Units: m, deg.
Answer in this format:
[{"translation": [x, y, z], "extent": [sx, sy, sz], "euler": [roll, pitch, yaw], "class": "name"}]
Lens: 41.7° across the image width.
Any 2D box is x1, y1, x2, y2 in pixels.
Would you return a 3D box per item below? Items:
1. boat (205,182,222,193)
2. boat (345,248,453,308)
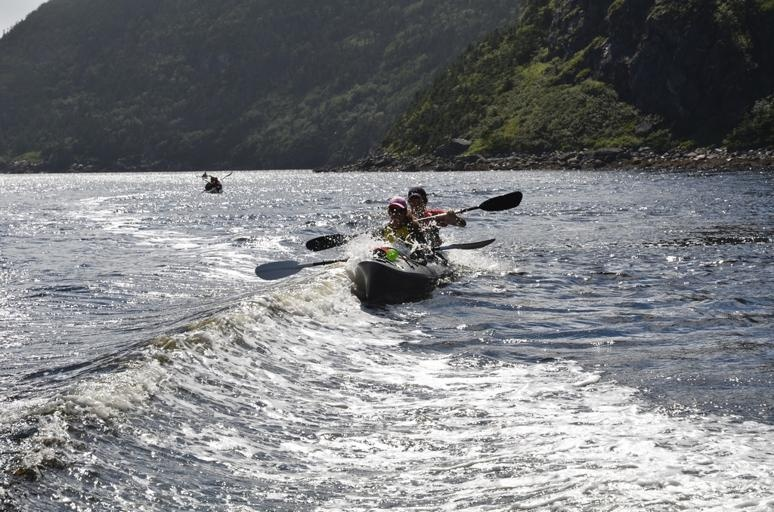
[{"translation": [-41.653, -16.115, 242.179], "extent": [3.737, 2.699, 3.096], "euler": [-5, 11, 0], "class": "boat"}, {"translation": [1.215, 5.005, 210.978], "extent": [22.551, 10.539, 28.828], "euler": [-1, -5, -7], "class": "boat"}]
